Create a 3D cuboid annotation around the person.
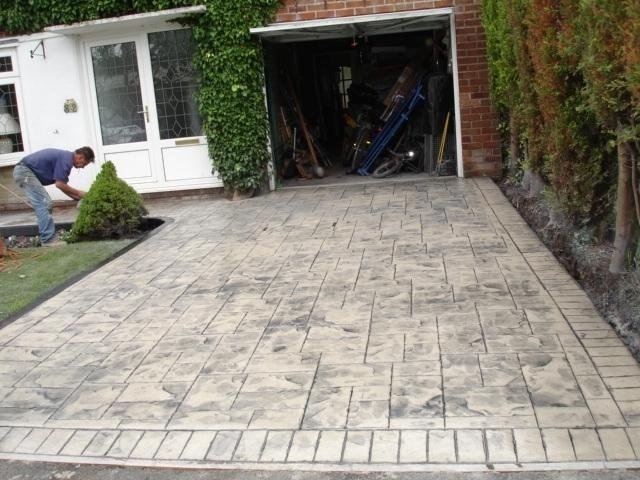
[{"bbox_3d":[-4.428,-0.746,7.722,1.266,1.513,0.727,-3,20,10],"label":"person"}]
